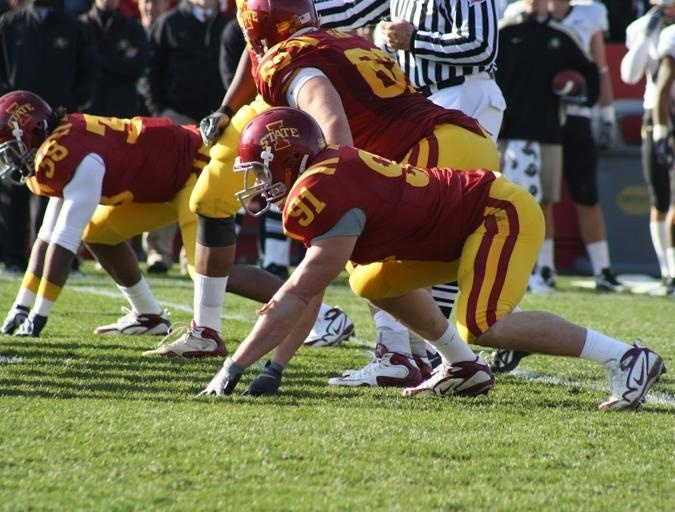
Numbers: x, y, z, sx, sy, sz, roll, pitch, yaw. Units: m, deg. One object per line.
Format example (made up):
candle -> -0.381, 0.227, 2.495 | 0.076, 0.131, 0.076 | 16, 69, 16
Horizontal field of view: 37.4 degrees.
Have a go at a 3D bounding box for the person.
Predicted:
person -> 0.040, -0.109, 4.121 | 2.329, 1.664, 0.866 | -3, 9, -3

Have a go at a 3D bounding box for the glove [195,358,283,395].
glove -> -0.316, 0.435, 3.579 | 0.356, 0.169, 0.110 | 1, 2, -40

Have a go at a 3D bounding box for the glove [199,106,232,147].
glove -> -0.485, -0.539, 4.101 | 0.080, 0.100, 0.169 | 41, 38, -10

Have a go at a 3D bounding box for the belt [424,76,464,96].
belt -> 0.429, -0.694, 4.045 | 0.105, 0.042, 0.081 | -25, 4, 22

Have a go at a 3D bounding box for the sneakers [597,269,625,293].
sneakers -> 1.960, 0.178, 7.189 | 0.265, 0.178, 0.091 | 2, 7, 38
